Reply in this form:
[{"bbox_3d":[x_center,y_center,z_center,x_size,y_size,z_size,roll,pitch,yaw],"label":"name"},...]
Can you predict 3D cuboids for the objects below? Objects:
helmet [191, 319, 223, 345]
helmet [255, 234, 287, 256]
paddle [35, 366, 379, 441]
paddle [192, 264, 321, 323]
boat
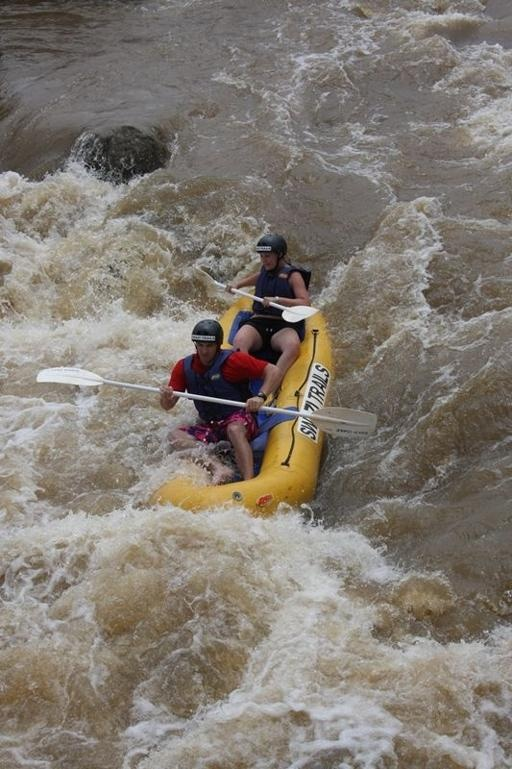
[{"bbox_3d":[-0.389,-0.418,7.634,0.191,0.199,0.227,5,41,10],"label":"helmet"},{"bbox_3d":[0.128,-1.303,8.985,0.214,0.204,0.261,14,28,23],"label":"helmet"},{"bbox_3d":[-0.387,0.187,8.232,3.366,0.315,0.122,9,-2,5],"label":"paddle"},{"bbox_3d":[-0.091,-0.927,9.368,1.777,0.421,0.244,20,68,44],"label":"paddle"},{"bbox_3d":[0.239,0.350,8.024,0.989,0.535,1.951,13,56,13],"label":"boat"}]
